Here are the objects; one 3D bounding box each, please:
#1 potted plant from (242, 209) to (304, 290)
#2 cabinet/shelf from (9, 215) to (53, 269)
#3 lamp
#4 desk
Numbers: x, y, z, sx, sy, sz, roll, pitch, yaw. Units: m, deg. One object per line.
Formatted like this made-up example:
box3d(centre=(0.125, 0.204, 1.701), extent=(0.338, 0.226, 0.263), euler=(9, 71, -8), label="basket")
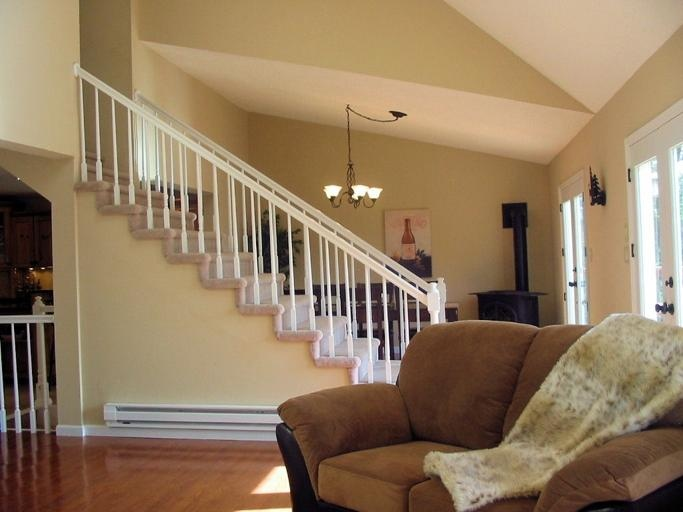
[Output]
box3d(centre=(-0.907, -0.133, 8.020), extent=(0.783, 1.312, 2.328), euler=(-1, -5, -4), label="potted plant")
box3d(centre=(-5.102, -0.270, 9.846), extent=(0.789, 0.885, 0.441), euler=(-1, 4, -5), label="cabinet/shelf")
box3d(centre=(0.166, -1.323, 8.308), extent=(0.785, 1.320, 1.151), euler=(0, 2, 7), label="lamp")
box3d(centre=(0.345, 0.647, 5.199), extent=(0.729, 0.438, 0.248), euler=(0, -6, 9), label="desk")
